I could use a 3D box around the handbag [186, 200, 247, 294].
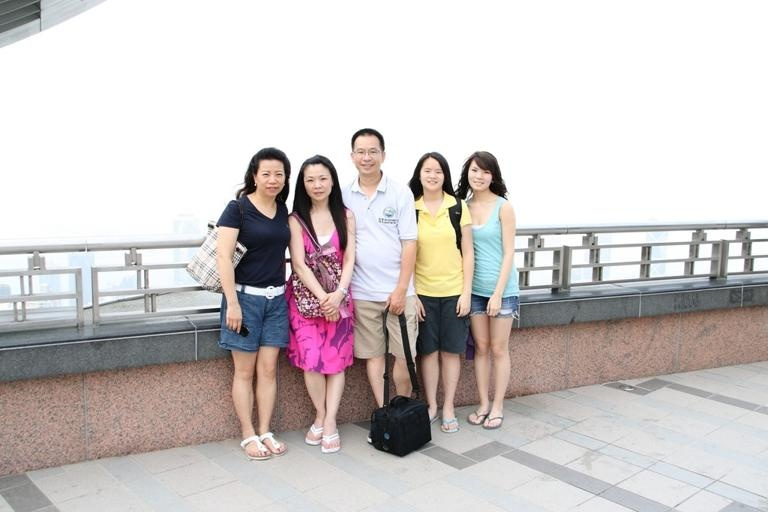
[{"bbox_3d":[-1.411,-0.065,4.558,0.619,0.705,0.217,37,20,23],"label":"handbag"}]

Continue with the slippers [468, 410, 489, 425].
[{"bbox_3d":[0.957,1.618,5.375,0.140,0.064,0.252,0,3,9],"label":"slippers"}]

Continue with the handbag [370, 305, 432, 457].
[{"bbox_3d":[0.159,1.132,4.840,0.499,1.225,0.451,8,14,30],"label":"handbag"}]

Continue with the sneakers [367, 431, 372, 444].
[{"bbox_3d":[-0.129,1.688,4.996,0.042,0.051,0.122,0,-3,-3],"label":"sneakers"}]

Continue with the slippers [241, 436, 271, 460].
[{"bbox_3d":[-1.114,1.672,4.721,0.152,0.104,0.246,-13,21,-43],"label":"slippers"}]

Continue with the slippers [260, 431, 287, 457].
[{"bbox_3d":[-0.969,1.663,4.777,0.136,0.107,0.278,-22,26,-36],"label":"slippers"}]

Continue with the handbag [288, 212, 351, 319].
[{"bbox_3d":[-0.620,0.101,4.778,0.578,0.855,0.341,-17,17,-9],"label":"handbag"}]

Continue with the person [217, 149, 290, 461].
[{"bbox_3d":[-1.104,0.420,4.683,0.620,2.660,0.568,-2,12,-11],"label":"person"}]
